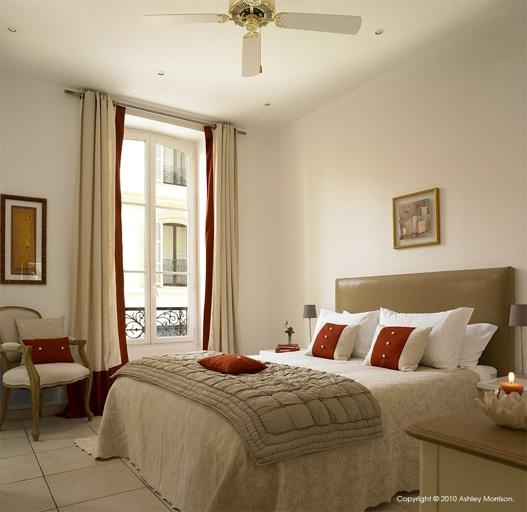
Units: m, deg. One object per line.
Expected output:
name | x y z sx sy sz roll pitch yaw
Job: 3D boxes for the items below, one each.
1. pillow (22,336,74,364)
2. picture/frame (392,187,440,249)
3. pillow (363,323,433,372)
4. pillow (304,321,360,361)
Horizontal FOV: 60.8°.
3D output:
pillow | -1.895 0.856 3.989 0.391 0.259 0.246 -1 -1 -40
picture/frame | 1.373 -0.330 3.995 0.040 0.588 0.499 5 -9 -34
pillow | 0.985 0.703 3.365 0.241 0.356 0.475 10 -10 -34
pillow | 0.593 0.766 3.972 0.238 0.309 0.476 6 -7 -41
